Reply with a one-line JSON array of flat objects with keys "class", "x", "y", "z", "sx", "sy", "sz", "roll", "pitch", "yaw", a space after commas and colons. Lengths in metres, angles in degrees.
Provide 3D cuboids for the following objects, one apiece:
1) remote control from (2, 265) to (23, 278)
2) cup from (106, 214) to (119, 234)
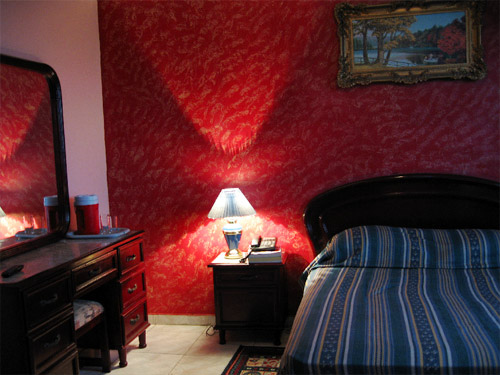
[{"class": "remote control", "x": -1.270, "y": 0.445, "z": 2.111, "sx": 0.070, "sy": 0.038, "sz": 0.136, "roll": -2, "pitch": 8, "yaw": 13}, {"class": "cup", "x": -1.044, "y": 0.274, "z": 2.958, "sx": 0.119, "sy": 0.190, "sz": 0.122, "roll": -1, "pitch": -8, "yaw": 0}]
